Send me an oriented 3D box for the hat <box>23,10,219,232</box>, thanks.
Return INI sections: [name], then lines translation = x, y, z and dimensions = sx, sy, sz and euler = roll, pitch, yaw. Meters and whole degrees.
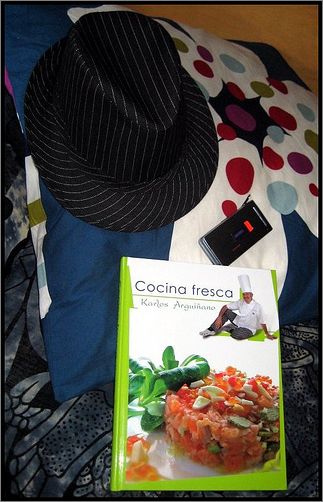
[hat]
translation = -0.059, -0.276, 0.812
dimensions = 0.448, 0.369, 0.326
euler = -11, 44, -19
